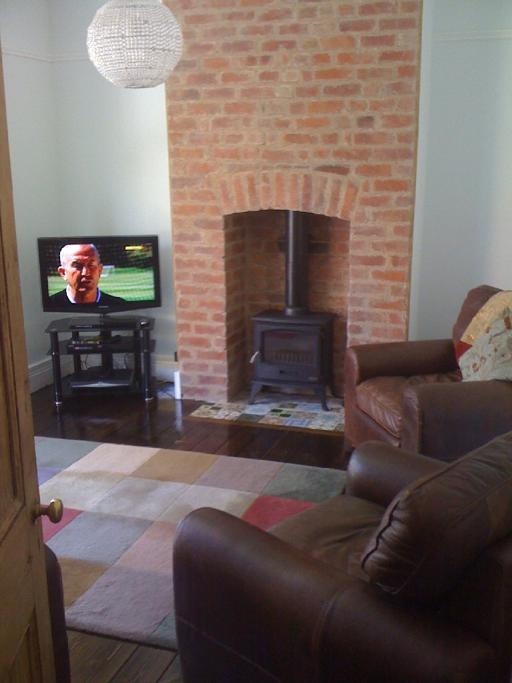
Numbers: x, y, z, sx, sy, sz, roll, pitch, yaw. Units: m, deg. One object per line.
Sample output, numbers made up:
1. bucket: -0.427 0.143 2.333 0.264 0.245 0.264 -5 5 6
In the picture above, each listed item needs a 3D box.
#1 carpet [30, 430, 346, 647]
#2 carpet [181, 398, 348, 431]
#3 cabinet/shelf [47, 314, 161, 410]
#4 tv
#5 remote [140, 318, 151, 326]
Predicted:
1. carpet: -0.527 0.765 2.781 1.728 0.017 1.161 0 15 22
2. carpet: 0.127 0.474 4.059 1.052 0.023 0.560 3 13 18
3. cabinet/shelf: -1.104 0.056 4.554 0.978 0.665 0.707 -1 11 -4
4. tv: -1.125 -0.459 4.257 0.799 0.501 0.058 -1 14 -6
5. remote: -0.777 -0.149 4.231 0.063 0.045 0.088 13 8 13
